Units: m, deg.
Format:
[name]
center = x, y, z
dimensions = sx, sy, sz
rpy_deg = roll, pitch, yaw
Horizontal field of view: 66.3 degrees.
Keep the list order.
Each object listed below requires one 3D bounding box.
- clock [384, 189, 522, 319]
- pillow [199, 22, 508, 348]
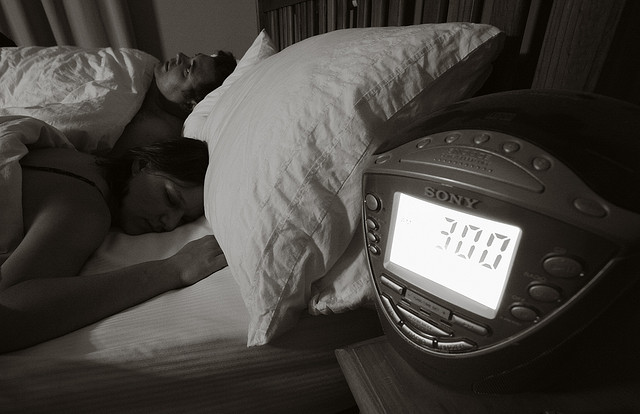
[clock]
center = 0.222, 0.074, 0.790
dimensions = 0.176, 0.134, 0.024
rpy_deg = 25, 18, 29
[pillow]
center = -0.026, -0.144, 1.093
dimensions = 0.562, 0.554, 0.503
rpy_deg = -20, 41, -30
